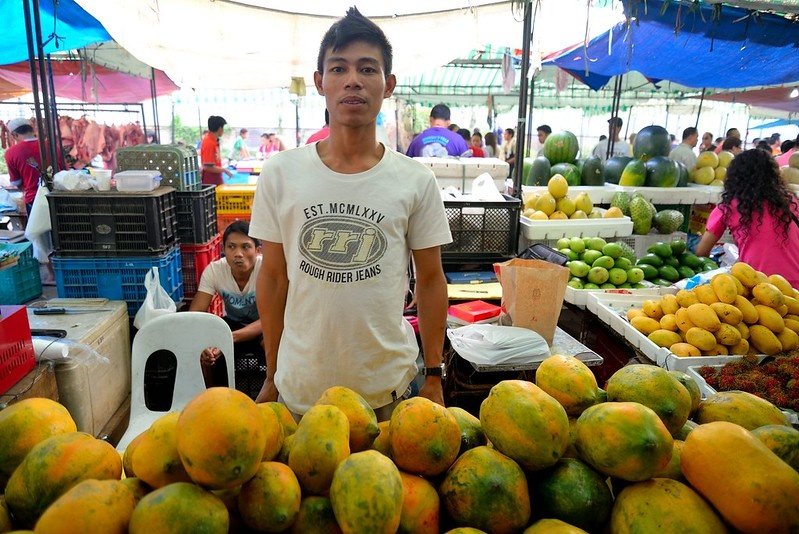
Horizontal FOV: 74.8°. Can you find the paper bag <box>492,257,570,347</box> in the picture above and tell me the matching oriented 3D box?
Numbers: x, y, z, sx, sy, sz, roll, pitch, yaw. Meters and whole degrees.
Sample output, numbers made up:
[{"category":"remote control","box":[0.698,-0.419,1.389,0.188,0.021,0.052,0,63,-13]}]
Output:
[{"category":"paper bag","box":[0.960,0.316,3.417,0.432,0.524,0.419,1,-21,31]}]

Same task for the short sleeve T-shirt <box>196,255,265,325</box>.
[{"category":"short sleeve T-shirt","box":[-1.321,0.194,4.198,0.624,0.629,0.159,-2,-1,26]}]
